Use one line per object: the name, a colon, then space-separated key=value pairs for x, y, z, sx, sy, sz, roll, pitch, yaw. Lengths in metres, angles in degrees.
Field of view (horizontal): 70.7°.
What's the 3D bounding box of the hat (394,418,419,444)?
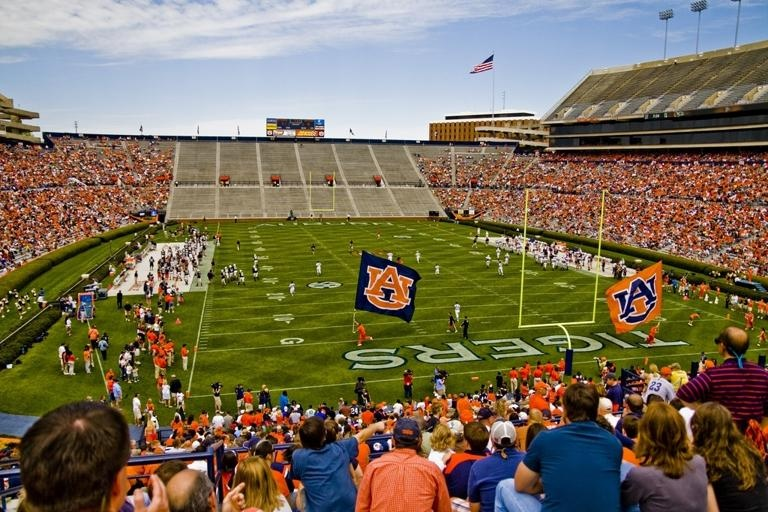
hat: x=0.221 y=1.741 z=5.463 sx=0.267 sy=0.244 sz=0.248 roll=-1 pitch=13 yaw=-6
